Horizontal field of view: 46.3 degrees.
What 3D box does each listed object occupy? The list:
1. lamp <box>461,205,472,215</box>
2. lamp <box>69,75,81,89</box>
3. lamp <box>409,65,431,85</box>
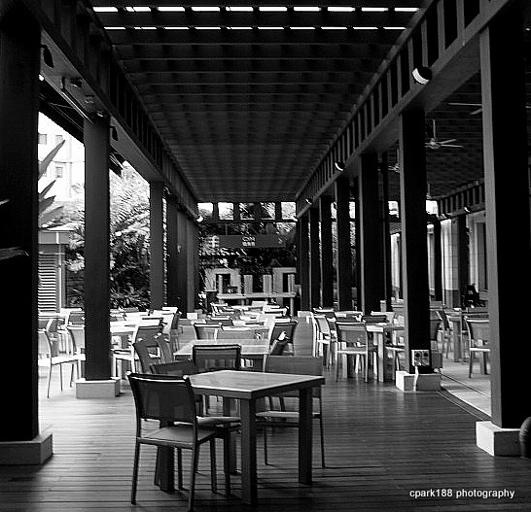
[{"bbox_3d":[6.516,-1.511,20.042,0.255,0.234,0.813,-3,-8,16],"label":"lamp"},{"bbox_3d":[-2.042,-1.871,6.681,0.060,0.112,0.110,0,-4,-9],"label":"lamp"},{"bbox_3d":[1.679,-1.999,6.788,0.237,0.265,0.112,12,-14,-16],"label":"lamp"}]
